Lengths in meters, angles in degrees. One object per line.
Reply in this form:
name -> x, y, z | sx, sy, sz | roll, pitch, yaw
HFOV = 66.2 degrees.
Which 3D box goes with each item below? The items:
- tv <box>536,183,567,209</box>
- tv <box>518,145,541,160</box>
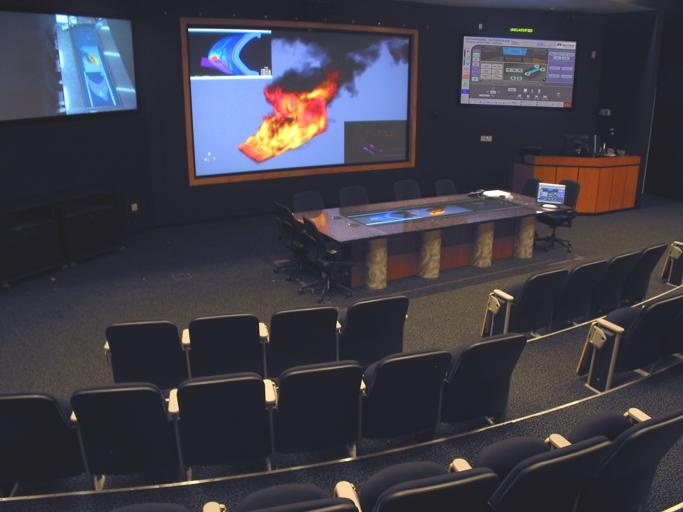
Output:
tv -> 3.267, -0.928, 8.152 | 0.395, 0.344, 0.215 | 12, 16, 39
tv -> 3.993, -2.208, 11.087 | 0.378, 0.256, 0.379 | -8, 17, -14
